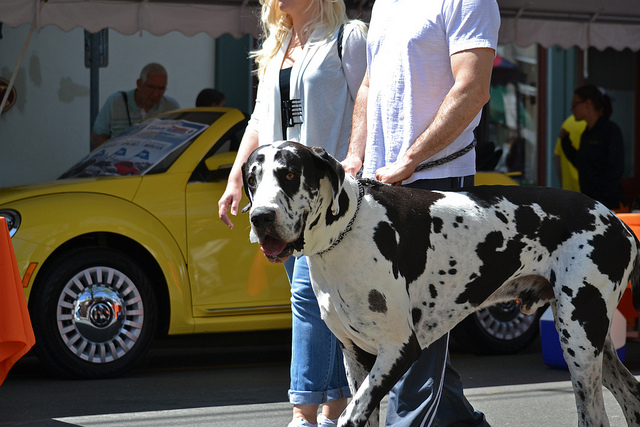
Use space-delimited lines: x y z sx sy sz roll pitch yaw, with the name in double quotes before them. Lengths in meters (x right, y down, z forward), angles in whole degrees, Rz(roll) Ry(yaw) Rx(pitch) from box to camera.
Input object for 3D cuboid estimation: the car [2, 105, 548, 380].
"car" -0.706 0.030 7.732 4.415 2.248 2.587 2 -6 -20
